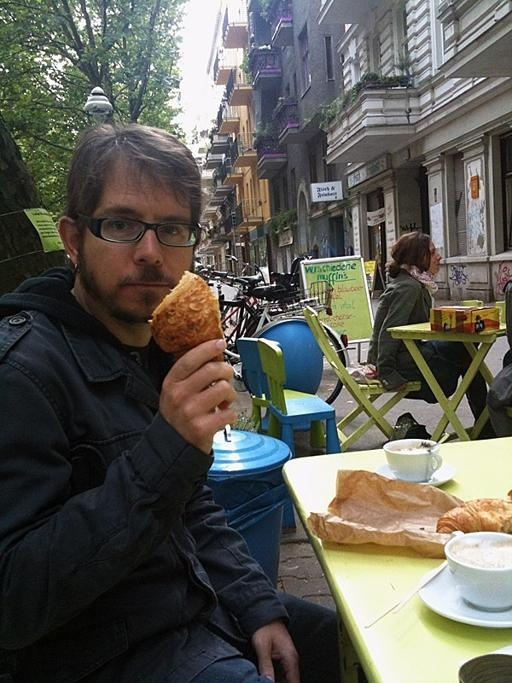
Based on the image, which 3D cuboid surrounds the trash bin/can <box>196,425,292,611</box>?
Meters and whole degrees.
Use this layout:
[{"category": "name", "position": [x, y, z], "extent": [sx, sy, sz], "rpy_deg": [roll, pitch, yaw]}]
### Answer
[{"category": "trash bin/can", "position": [-0.011, 0.734, 2.614], "extent": [0.715, 0.820, 0.619], "rpy_deg": [-5, 5, 0]}]

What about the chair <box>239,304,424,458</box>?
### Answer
[{"category": "chair", "position": [0.511, 0.397, 4.936], "extent": [1.689, 1.975, 1.299], "rpy_deg": [-7, 14, -15]}]

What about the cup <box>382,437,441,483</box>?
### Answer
[{"category": "cup", "position": [0.446, 0.325, 1.492], "extent": [0.161, 0.096, 0.206], "rpy_deg": [-2, 4, 15]}]

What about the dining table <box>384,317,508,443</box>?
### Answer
[{"category": "dining table", "position": [1.752, 0.300, 4.767], "extent": [1.034, 1.170, 1.317], "rpy_deg": [-1, 5, 25]}]

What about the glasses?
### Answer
[{"category": "glasses", "position": [-0.284, -0.267, 1.326], "extent": [0.236, 0.085, 0.086], "rpy_deg": [-4, 8, -22]}]
